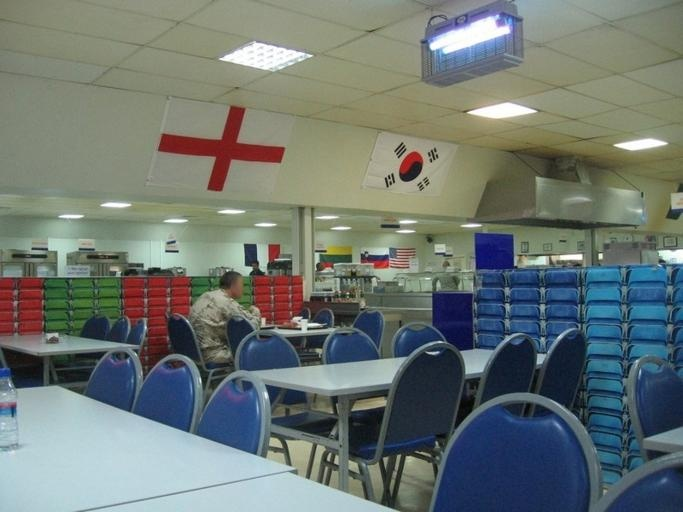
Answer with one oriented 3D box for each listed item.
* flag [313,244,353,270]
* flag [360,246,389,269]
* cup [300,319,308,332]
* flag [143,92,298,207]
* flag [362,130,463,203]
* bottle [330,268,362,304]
[{"bbox_3d":[-0.222,-0.067,16.615,0.499,0.625,1.352,1,-3,40],"label":"flag"},{"bbox_3d":[1.124,0.035,17.616,0.251,0.733,1.252,1,-3,44],"label":"flag"},{"bbox_3d":[-0.389,0.695,5.435,0.091,0.128,0.090,0,-7,0],"label":"cup"},{"bbox_3d":[-1.472,-1.334,6.444,1.178,0.778,0.188,1,26,-33],"label":"flag"},{"bbox_3d":[1.062,-1.375,8.193,1.589,0.913,0.083,17,5,43],"label":"flag"},{"bbox_3d":[0.102,0.459,8.311,0.429,0.779,0.429,0,-7,0],"label":"bottle"}]
